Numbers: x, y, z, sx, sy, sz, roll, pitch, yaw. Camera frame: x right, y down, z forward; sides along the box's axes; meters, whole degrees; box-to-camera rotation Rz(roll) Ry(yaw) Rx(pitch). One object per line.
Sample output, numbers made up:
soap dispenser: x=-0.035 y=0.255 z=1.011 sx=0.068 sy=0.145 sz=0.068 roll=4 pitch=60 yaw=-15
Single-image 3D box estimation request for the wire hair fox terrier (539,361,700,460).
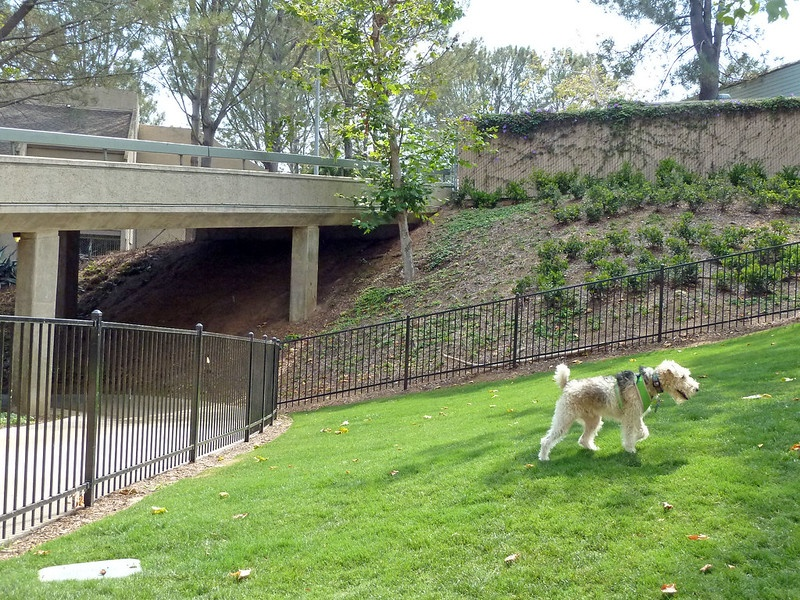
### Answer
wire hair fox terrier: x=3.772 y=1.925 z=17.691 sx=2.591 sy=1.735 sz=0.782 roll=-2 pitch=-5 yaw=20
